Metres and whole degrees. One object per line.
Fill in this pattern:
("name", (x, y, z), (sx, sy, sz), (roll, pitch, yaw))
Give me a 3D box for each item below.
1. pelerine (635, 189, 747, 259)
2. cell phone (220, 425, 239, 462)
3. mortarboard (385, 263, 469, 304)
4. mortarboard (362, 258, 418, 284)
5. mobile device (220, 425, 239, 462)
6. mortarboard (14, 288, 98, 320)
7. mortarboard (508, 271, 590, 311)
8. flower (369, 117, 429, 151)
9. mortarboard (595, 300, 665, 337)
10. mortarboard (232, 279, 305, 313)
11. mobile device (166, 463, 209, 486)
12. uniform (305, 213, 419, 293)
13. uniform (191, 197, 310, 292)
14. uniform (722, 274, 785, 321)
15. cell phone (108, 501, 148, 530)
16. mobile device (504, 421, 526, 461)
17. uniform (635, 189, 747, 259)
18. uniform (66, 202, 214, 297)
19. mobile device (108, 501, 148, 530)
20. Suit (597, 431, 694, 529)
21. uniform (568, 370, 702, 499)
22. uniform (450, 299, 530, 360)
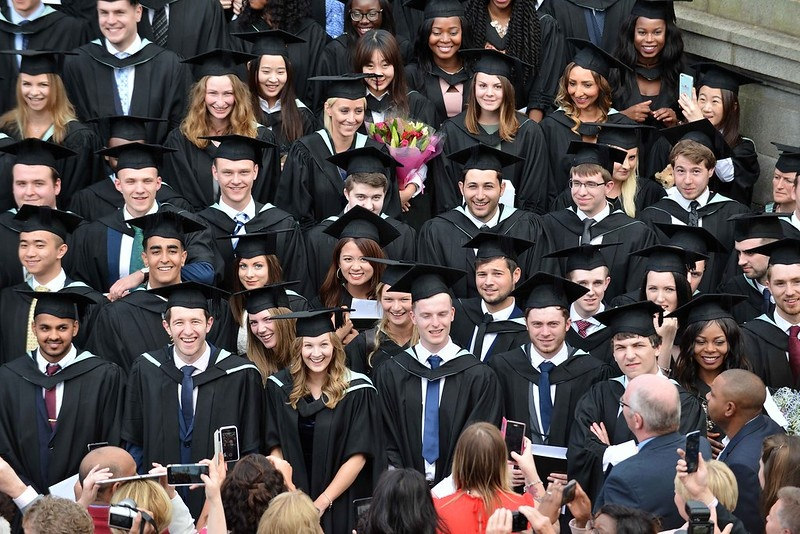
("pelerine", (3.508, -0.288, 10.737), (1.370, 1.004, 0.712), (0, -1, 1))
("cell phone", (-1.407, 1.455, 7.321), (0.162, 0.278, 0.203), (4, -6, -9))
("mortarboard", (0.196, 0.092, 8.936), (0.573, 0.270, 0.605), (4, -5, 19))
("mortarboard", (-0.103, 0.034, 9.195), (0.349, 0.179, 0.343), (2, 1, 38))
("mobile device", (-1.407, 1.455, 7.321), (0.162, 0.278, 0.203), (4, -6, -9))
("mortarboard", (-3.328, 0.372, 8.779), (0.598, 0.284, 0.346), (7, -7, -26))
("mortarboard", (1.367, 0.306, 8.943), (0.801, 0.269, 0.666), (0, -13, -30))
("flower", (-0.004, -1.531, 10.823), (0.467, 0.310, 0.471), (17, 10, 23))
("mortarboard", (2.194, 0.488, 8.434), (0.446, 0.241, 0.368), (-4, -16, 15))
("mortarboard", (-1.395, 0.314, 9.155), (0.617, 0.340, 0.534), (5, -6, -11))
("mobile device", (-1.623, 1.593, 6.822), (0.317, 0.178, 0.285), (5, -6, -14))
("uniform", (-0.422, -0.121, 9.728), (0.872, 0.844, 0.347), (1, 1, 7))
("uniform", (-1.690, -0.213, 9.904), (1.035, 0.896, 0.412), (4, 1, -4))
("uniform", (3.739, 0.338, 9.397), (0.412, 0.461, 0.143), (11, 3, 22))
("cell phone", (-1.988, 1.795, 6.533), (0.208, 0.133, 0.211), (13, -13, 1))
("mobile device", (0.934, 1.424, 7.318), (0.162, 0.301, 0.373), (3, -6, 7))
("uniform", (3.502, -0.610, 10.724), (1.370, 1.004, 0.712), (0, -1, 1))
("uniform", (-2.923, -0.241, 10.160), (1.586, 0.938, 1.249), (7, -40, -10))
("mobile device", (-1.992, 1.796, 6.532), (0.208, 0.133, 0.211), (13, -13, 1))
("Suit", (1.888, 1.642, 6.788), (0.678, 0.627, 0.351), (-5, 21, -18))
("uniform", (1.967, 1.440, 7.463), (0.971, 1.109, 0.580), (-6, -20, 19))
("uniform", (0.943, 0.675, 9.541), (0.950, 0.920, 0.541), (0, -11, 15))
